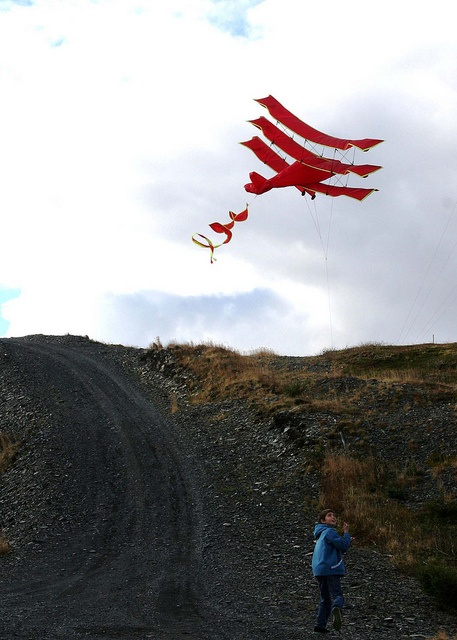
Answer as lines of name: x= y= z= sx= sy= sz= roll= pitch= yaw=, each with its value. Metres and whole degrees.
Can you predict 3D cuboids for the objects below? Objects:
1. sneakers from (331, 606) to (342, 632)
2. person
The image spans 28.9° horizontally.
sneakers: x=2.291 y=6.424 z=19.046 sx=0.233 sy=0.566 sz=0.237 roll=-5 pitch=1 yaw=13
person: x=2.136 y=5.530 z=19.378 sx=0.689 sy=2.641 sz=0.952 roll=7 pitch=-15 yaw=-6
